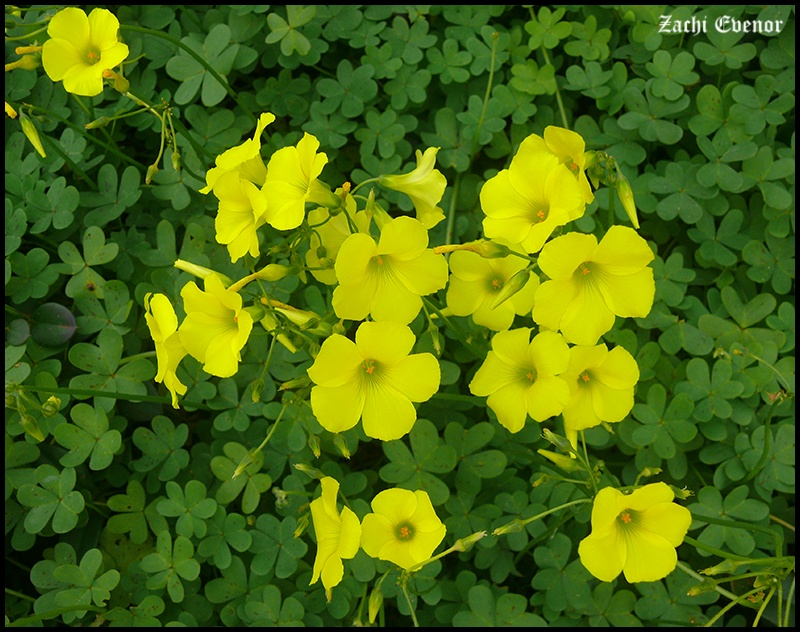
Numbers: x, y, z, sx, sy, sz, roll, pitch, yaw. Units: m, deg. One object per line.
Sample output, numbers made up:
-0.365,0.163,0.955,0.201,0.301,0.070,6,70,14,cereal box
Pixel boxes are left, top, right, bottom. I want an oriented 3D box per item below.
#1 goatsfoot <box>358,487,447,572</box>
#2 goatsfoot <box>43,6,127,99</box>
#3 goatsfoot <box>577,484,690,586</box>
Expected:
0.012,0.643,2.223,0.205,0.121,0.239,-9,42,-6,goatsfoot
-1.015,-0.852,2.364,0.268,0.135,0.239,-34,66,-8,goatsfoot
0.665,0.591,2.110,0.278,0.136,0.322,-13,98,0,goatsfoot
